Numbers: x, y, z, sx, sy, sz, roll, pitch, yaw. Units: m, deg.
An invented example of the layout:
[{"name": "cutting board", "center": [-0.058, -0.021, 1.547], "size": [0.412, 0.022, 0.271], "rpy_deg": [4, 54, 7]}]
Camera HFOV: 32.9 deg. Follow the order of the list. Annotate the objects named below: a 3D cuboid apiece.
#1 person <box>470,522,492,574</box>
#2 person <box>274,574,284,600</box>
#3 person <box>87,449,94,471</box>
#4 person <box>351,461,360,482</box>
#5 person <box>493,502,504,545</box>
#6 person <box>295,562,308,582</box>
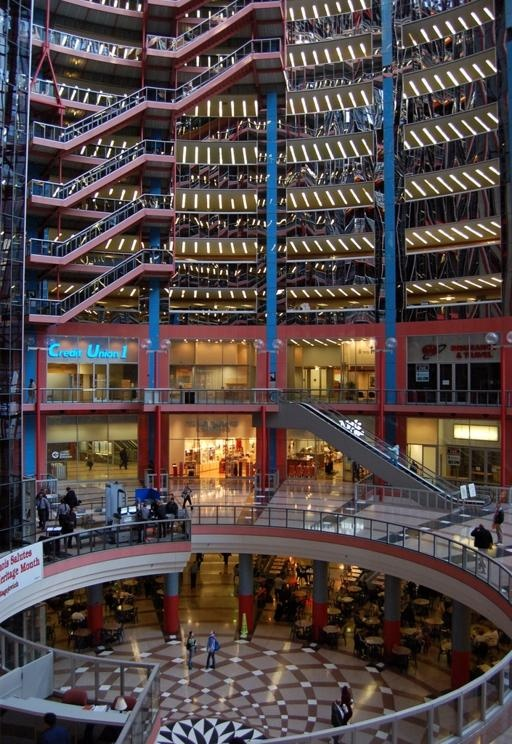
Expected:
[{"name": "person", "center": [5.942, 4.587, 22.870], "size": [0.492, 1.050, 2.163], "rpy_deg": [-1, -3, 14]}, {"name": "person", "center": [0.828, 8.029, 32.324], "size": [0.271, 0.798, 0.524], "rpy_deg": [0, -3, 3]}, {"name": "person", "center": [-8.034, 4.252, 41.860], "size": [0.345, 0.943, 0.101], "rpy_deg": [2, -4, -37]}, {"name": "person", "center": [4.590, 4.596, 40.466], "size": [0.368, 0.858, 0.645], "rpy_deg": [0, -3, 4]}, {"name": "person", "center": [6.990, 4.326, 25.164], "size": [0.270, 1.029, 2.107], "rpy_deg": [-1, -3, 16]}, {"name": "person", "center": [1.908, 7.904, 34.270], "size": [0.545, 0.729, 0.536], "rpy_deg": [3, -11, -20]}]
